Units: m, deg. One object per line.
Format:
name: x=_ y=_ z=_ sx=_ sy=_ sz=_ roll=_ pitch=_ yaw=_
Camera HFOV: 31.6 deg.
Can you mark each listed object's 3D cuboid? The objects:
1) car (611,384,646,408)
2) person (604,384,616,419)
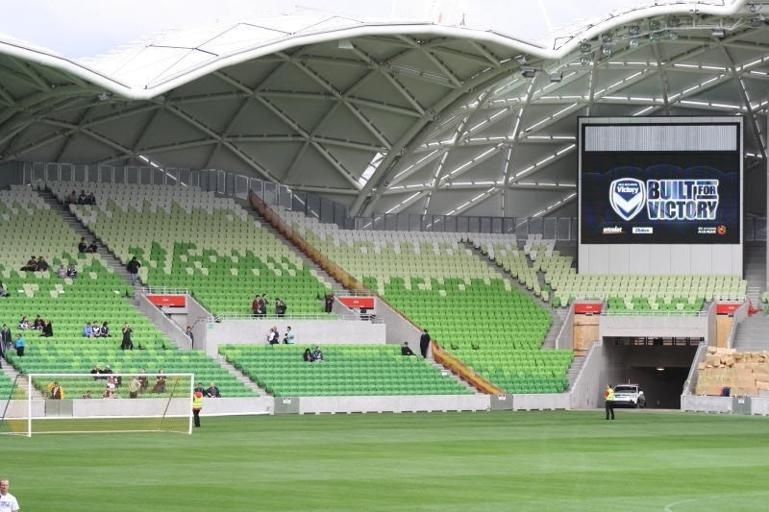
car: x=12.794 y=7.156 z=70.122 sx=1.557 sy=0.962 sz=2.387 roll=-1 pitch=-7 yaw=18
person: x=9.962 y=6.378 z=59.406 sx=0.393 sy=1.395 sz=1.484 roll=1 pitch=-5 yaw=9
